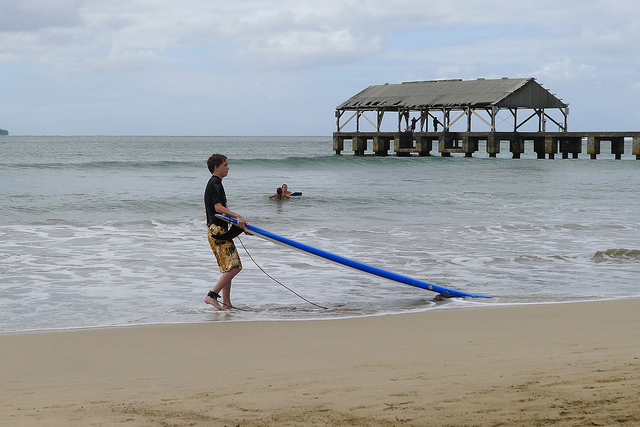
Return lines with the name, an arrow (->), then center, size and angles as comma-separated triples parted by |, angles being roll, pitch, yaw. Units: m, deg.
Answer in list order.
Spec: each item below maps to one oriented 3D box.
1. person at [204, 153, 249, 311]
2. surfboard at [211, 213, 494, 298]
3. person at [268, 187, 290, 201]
person -> -1.519, 0.277, 15.552 | 0.657, 2.460, 0.879 | -3, 5, -7
surfboard -> 0.334, 0.662, 15.986 | 4.167, 1.482, 0.983 | -2, 4, -11
person -> -1.422, -0.599, 29.340 | 0.773, 0.318, 0.920 | 1, 9, -6
